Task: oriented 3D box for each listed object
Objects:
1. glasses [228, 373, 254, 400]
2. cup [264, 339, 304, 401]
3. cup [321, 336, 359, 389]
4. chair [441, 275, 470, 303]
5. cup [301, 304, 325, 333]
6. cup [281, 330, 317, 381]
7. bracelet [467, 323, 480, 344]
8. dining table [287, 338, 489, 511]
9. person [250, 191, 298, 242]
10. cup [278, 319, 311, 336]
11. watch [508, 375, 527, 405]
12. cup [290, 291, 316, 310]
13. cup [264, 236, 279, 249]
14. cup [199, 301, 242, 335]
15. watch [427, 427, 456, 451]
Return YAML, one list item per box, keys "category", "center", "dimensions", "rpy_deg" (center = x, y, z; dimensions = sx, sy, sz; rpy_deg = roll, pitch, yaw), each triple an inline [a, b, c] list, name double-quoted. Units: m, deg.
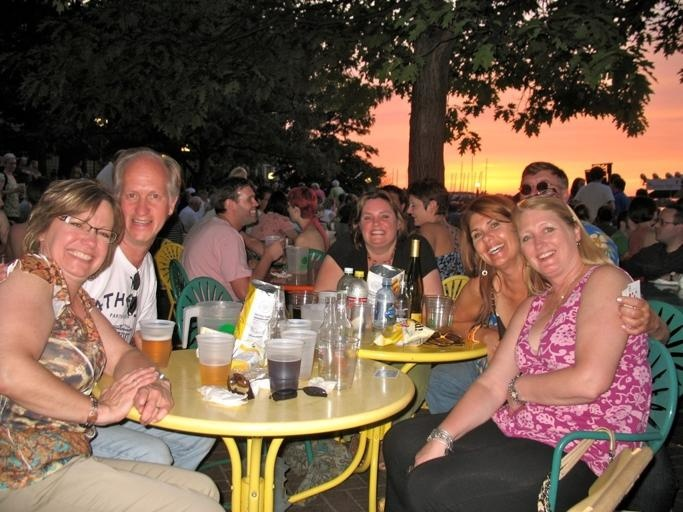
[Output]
- category: "glasses"
  center: [-0.454, 0.574, 2.557]
  dimensions: [0.132, 0.107, 0.089]
  rpy_deg: [2, 1, 2]
- category: "cup"
  center: [-0.258, 0.500, 2.584]
  dimensions: [0.159, 0.275, 0.153]
  rpy_deg: [2, 2, 0]
- category: "cup"
  center: [-0.015, 0.501, 2.724]
  dimensions: [0.212, 0.234, 0.214]
  rpy_deg: [1, 0, 0]
- category: "chair"
  center: [1.004, 0.294, 5.126]
  dimensions: [0.283, 0.351, 0.262]
  rpy_deg: [1, -6, 16]
- category: "cup"
  center: [-0.145, 0.317, 3.103]
  dimensions: [0.114, 0.133, 0.144]
  rpy_deg: [1, -7, 1]
- category: "cup"
  center: [-0.191, 0.464, 2.777]
  dimensions: [0.226, 0.244, 0.225]
  rpy_deg: [1, 1, 0]
- category: "bracelet"
  center: [0.837, 0.487, 3.662]
  dimensions: [0.036, 0.100, 0.087]
  rpy_deg: [4, -9, 6]
- category: "dining table"
  center: [0.287, 1.122, 3.323]
  dimensions: [1.183, 0.854, 1.174]
  rpy_deg: [0, 2, 1]
- category: "person"
  center: [-0.919, -0.599, 7.336]
  dimensions: [0.545, 0.417, 0.725]
  rpy_deg: [5, -37, -4]
- category: "cup"
  center: [-0.236, 0.337, 2.826]
  dimensions: [0.103, 0.105, 0.102]
  rpy_deg: [0, 0, 0]
- category: "watch"
  center: [0.863, 0.656, 2.824]
  dimensions: [0.047, 0.121, 0.106]
  rpy_deg: [-10, 29, 4]
- category: "cup"
  center: [-0.254, 0.262, 3.568]
  dimensions: [0.165, 0.119, 0.131]
  rpy_deg: [0, -1, 16]
- category: "cup"
  center: [-0.704, -0.166, 5.781]
  dimensions: [0.189, 0.141, 0.196]
  rpy_deg: [-1, -3, 0]
- category: "cup"
  center: [-0.648, 0.324, 3.063]
  dimensions: [0.197, 0.139, 0.157]
  rpy_deg: [5, 1, -25]
- category: "watch"
  center: [0.497, 0.897, 2.841]
  dimensions: [0.094, 0.064, 0.118]
  rpy_deg: [9, -36, 15]
